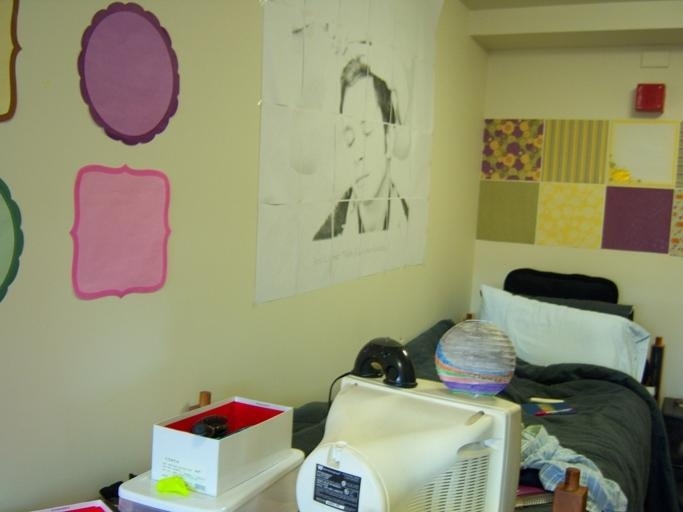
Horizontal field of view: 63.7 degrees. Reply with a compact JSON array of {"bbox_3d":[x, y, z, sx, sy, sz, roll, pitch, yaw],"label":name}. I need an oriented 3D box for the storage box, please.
[{"bbox_3d":[-0.308,0.383,1.316,0.172,0.126,0.274,0,0,31],"label":"storage box"}]
